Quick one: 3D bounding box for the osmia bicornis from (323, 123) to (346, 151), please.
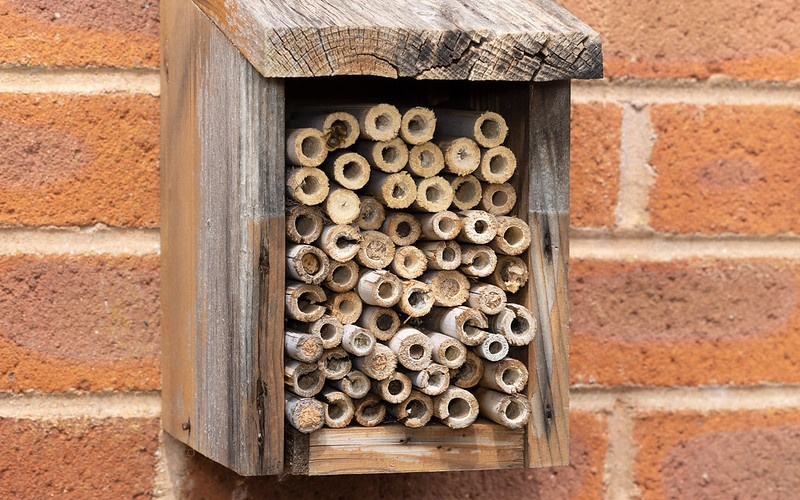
[{"bbox_3d":[-0.137,-0.235,2.581,0.041,0.022,0.053,2,103,-28],"label":"osmia bicornis"}]
